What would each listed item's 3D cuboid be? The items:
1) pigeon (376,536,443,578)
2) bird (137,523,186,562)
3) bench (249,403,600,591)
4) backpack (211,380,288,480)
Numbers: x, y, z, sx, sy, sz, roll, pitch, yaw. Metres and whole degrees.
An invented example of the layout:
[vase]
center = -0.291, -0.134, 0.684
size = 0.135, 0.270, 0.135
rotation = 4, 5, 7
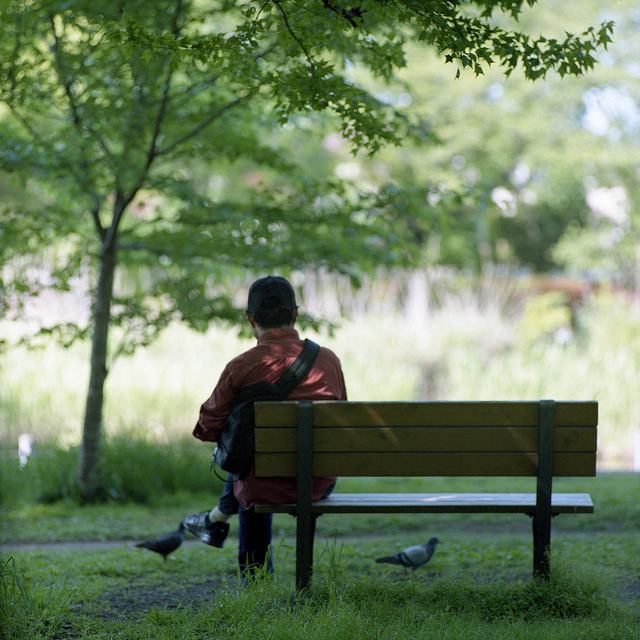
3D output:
[pigeon]
center = 0.640, 1.714, 11.171
size = 0.501, 0.347, 0.157
rotation = 2, 14, 6
[bird]
center = -1.166, 1.656, 11.351
size = 0.334, 0.289, 0.434
rotation = -1, -6, -7
[bench]
center = 0.696, 1.268, 10.845
size = 2.340, 1.586, 0.920
rotation = 0, 8, -3
[backpack]
center = -0.520, 0.679, 10.625
size = 0.350, 0.681, 0.454
rotation = 17, 16, -2
